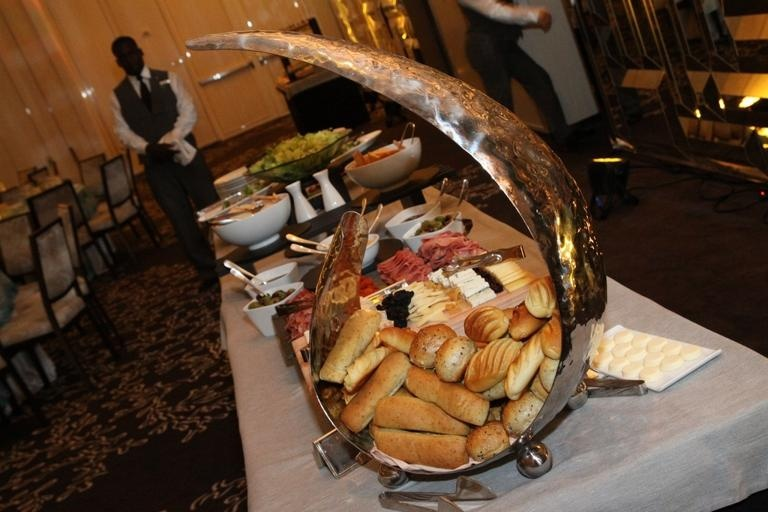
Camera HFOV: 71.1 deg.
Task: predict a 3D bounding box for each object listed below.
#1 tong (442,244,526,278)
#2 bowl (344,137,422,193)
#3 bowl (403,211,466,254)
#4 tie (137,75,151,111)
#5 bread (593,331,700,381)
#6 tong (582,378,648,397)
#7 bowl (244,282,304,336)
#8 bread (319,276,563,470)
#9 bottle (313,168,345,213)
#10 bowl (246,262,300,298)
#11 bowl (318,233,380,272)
[{"bbox_3d":[0.272,0.002,1.497,0.218,0.045,0.136,-12,24,10],"label":"tong"},{"bbox_3d":[0.008,-0.342,2.218,0.289,0.123,0.295,-20,12,5],"label":"bowl"},{"bbox_3d":[0.176,-0.081,1.765,0.183,0.066,0.121,-28,27,-4],"label":"bowl"},{"bbox_3d":[-1.816,-1.237,4.075,0.076,0.244,0.031,-24,25,-19],"label":"tie"},{"bbox_3d":[0.560,0.220,1.158,0.195,0.037,0.122,9,34,44],"label":"bread"},{"bbox_3d":[0.482,0.278,1.127,0.084,0.020,0.052,1,19,11],"label":"tong"},{"bbox_3d":[-0.347,0.181,1.801,0.171,0.126,0.186,-13,24,6],"label":"bowl"},{"bbox_3d":[0.106,0.232,1.076,0.495,0.283,0.243,-8,25,17],"label":"bread"},{"bbox_3d":[-0.239,-0.286,2.329,0.099,0.167,0.159,-22,24,-14],"label":"bottle"},{"bbox_3d":[-0.386,0.073,1.902,0.155,0.066,0.119,-27,9,-7],"label":"bowl"},{"bbox_3d":[-0.067,-0.021,1.863,0.146,0.066,0.147,-10,24,4],"label":"bowl"}]
